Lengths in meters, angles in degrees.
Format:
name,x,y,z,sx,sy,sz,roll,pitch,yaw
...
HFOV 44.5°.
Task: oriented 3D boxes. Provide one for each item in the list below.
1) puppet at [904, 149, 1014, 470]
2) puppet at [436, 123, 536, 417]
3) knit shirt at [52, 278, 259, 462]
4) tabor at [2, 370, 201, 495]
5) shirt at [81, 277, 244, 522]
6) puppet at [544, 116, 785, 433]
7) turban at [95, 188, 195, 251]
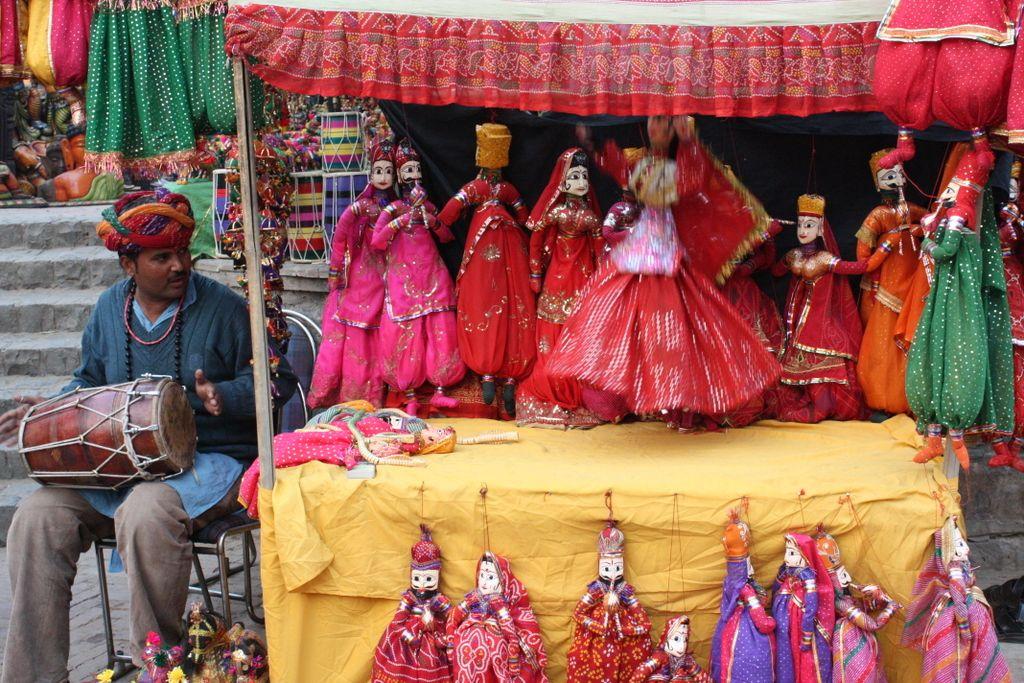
name,x,y,z,sx,sy,sz,roll,pitch,yaw
puppet,2.211,-0.175,6.124,0.515,1.573,0.374,2,8,13
puppet,-0.132,-0.402,7.254,0.546,1.675,0.367,0,7,-3
knit shirt,-1.875,0.062,7.051,1.374,1.131,0.864,-1,1,1
tabor,-2.056,0.492,6.398,0.840,0.639,0.672,-8,-13,9
shirt,-1.903,0.205,6.755,1.063,1.108,0.697,-1,7,-5
puppet,0.832,-0.416,6.631,1.191,1.529,0.606,1,7,5
turban,-1.924,-0.642,6.602,0.332,0.220,0.381,2,-17,-33
